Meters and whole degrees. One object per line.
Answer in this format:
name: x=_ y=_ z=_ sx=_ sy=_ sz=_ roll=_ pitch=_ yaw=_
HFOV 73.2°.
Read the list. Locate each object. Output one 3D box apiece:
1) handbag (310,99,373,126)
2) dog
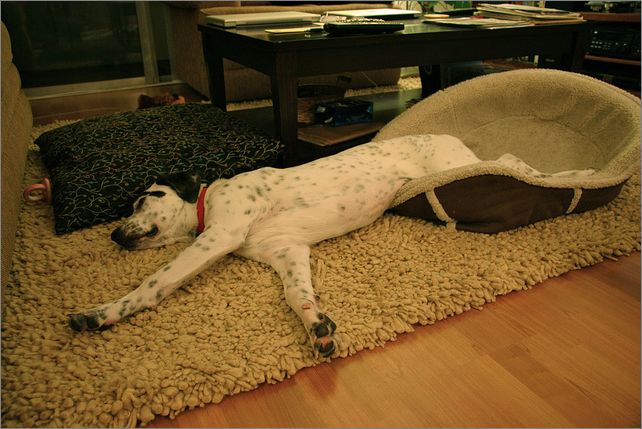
handbag: x=0.143 y=-0.678 z=2.882 sx=0.299 sy=0.094 sz=0.206 roll=-14 pitch=29 yaw=-23
dog: x=-0.036 y=-0.055 z=1.881 sx=1.588 sy=0.398 sz=0.884 roll=-24 pitch=11 yaw=-29
